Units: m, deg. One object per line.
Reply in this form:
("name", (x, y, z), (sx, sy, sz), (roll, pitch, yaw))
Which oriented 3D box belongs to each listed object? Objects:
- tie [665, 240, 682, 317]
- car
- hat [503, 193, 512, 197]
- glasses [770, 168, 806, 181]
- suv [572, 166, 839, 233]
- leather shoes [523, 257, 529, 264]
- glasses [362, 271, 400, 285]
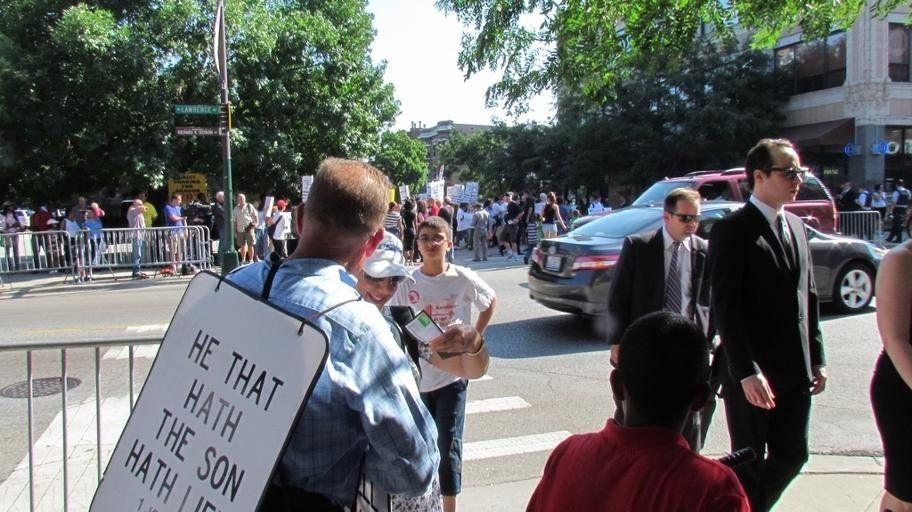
("tie", (2.780, 0.270, 8.831), (0.148, 0.872, 0.282), (2, 6, 43))
("car", (4.713, 0.512, 13.564), (6.085, 2.018, 2.819), (-6, 5, -17))
("hat", (1.841, -2.199, 24.805), (0.196, 0.263, 0.227), (8, 10, 21))
("glasses", (3.792, -0.941, 7.875), (0.212, 0.068, 0.219), (1, 4, -27))
("suv", (6.118, -0.760, 15.991), (4.896, 1.975, 2.389), (0, -1, -10))
("leather shoes", (2.245, 0.216, 22.063), (0.111, 0.324, 0.223), (-3, 17, 6))
("glasses", (-0.790, 0.242, 7.358), (0.408, 0.157, 0.064), (-2, 4, 3))
